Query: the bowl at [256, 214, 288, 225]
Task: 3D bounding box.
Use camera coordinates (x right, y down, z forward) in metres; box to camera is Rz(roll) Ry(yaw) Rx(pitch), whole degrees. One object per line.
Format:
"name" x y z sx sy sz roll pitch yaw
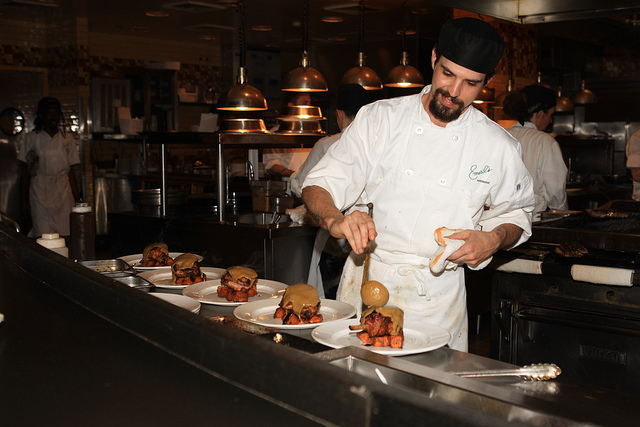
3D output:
"bowl" -0.452 0.045 4.247 0.142 0.089 0.145 1 1 0

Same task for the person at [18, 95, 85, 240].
"person" -3.622 -0.579 6.723 0.723 1.880 0.553 2 3 -31

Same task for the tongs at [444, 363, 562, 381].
"tongs" 0.486 0.417 1.332 0.295 0.039 0.115 4 3 -14

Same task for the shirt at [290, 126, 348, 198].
"shirt" -0.061 -0.429 3.997 0.458 0.606 0.398 -6 24 -19

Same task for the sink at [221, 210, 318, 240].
"sink" -0.357 0.090 3.541 0.362 0.219 0.352 -7 11 -42

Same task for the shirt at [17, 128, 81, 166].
"shirt" -3.649 -0.909 6.766 0.698 0.477 0.349 2 3 -35

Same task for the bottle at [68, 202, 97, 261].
"bottle" -1.259 0.103 2.656 0.133 0.312 0.353 3 3 -26

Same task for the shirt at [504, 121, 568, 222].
"shirt" 1.970 -0.328 4.354 0.348 1.197 0.508 -27 35 -16

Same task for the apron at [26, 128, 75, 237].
"apron" -3.516 -0.426 6.504 0.538 1.471 0.524 -1 3 -24
